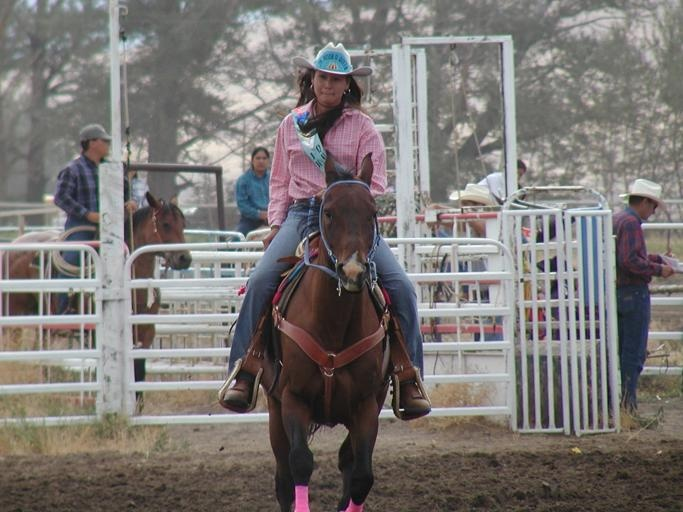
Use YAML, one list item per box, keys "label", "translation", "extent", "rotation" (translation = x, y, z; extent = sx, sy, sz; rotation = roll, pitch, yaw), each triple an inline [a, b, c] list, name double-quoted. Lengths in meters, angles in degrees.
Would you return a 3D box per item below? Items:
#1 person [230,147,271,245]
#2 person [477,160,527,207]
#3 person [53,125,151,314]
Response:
- label: "person"
  translation: [-1.873, -0.913, 39.086]
  extent: [0.875, 3.059, 0.843]
  rotation: [-7, 13, -43]
- label: "person"
  translation: [3.402, -1.512, 37.225]
  extent: [0.752, 1.250, 0.574]
  rotation: [0, 14, -2]
- label: "person"
  translation: [-5.280, -0.752, 35.742]
  extent: [1.154, 3.807, 1.081]
  rotation: [-1, -3, -9]
